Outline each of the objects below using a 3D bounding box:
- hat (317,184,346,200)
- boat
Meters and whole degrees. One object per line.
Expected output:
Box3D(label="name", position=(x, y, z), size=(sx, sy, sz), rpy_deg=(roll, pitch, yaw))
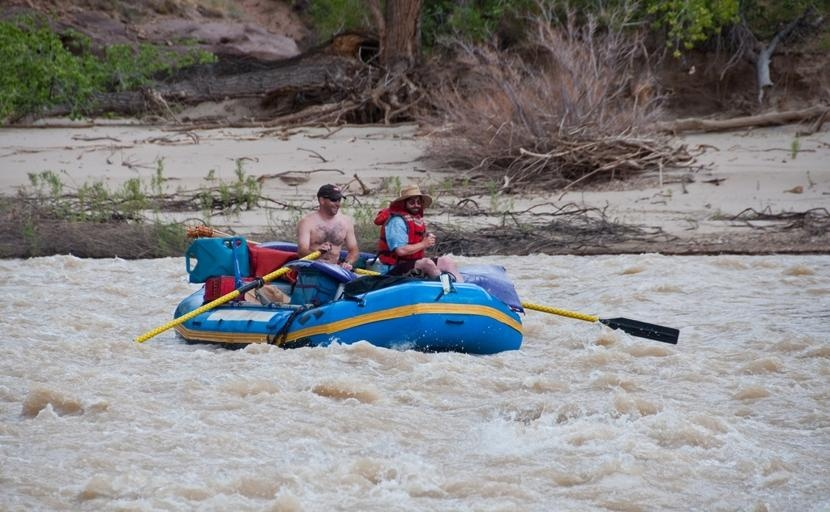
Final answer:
Box3D(label="hat", position=(-1.545, -1.153, 26.178), size=(0.490, 0.207, 0.330), rpy_deg=(-1, -1, 31))
Box3D(label="boat", position=(-1.106, 0.659, 25.849), size=(5.263, 1.335, 2.498), rpy_deg=(3, 0, 12))
